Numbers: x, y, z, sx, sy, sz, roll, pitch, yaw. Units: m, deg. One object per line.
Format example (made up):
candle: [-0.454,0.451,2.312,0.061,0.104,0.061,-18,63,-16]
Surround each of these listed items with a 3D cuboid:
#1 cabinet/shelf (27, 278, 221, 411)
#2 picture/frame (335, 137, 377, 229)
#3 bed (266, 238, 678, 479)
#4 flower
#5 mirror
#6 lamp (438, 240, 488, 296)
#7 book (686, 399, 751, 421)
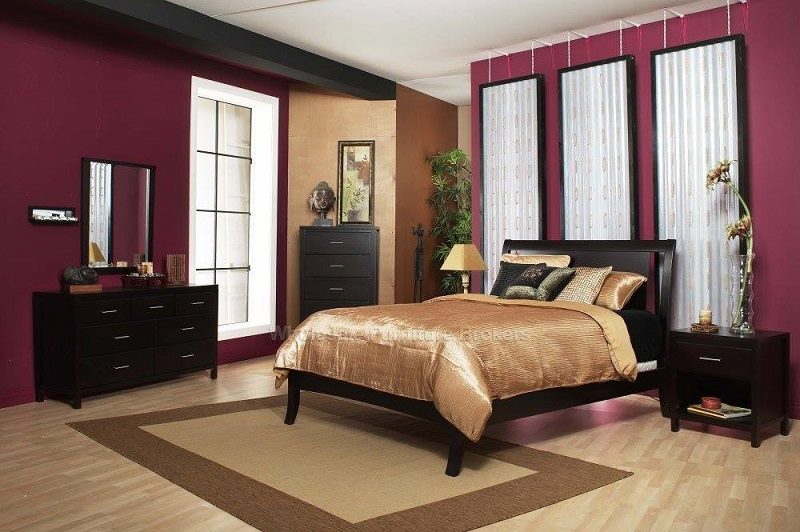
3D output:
cabinet/shelf: [-2.677,0.745,5.634,1.601,1.063,0.590,-4,8,-39]
picture/frame: [-0.586,-1.125,7.592,0.467,1.090,0.134,2,7,10]
bed: [0.774,0.516,5.224,3.054,1.509,2.464,-2,2,-37]
flower: [2.987,-0.148,5.128,0.546,1.516,0.475,5,8,32]
mirror: [-2.930,-0.531,5.878,0.107,1.133,0.794,6,9,39]
lamp: [0.881,0.007,6.576,0.624,0.793,0.596,0,1,23]
book: [2.687,1.184,4.722,0.486,0.132,0.285,0,6,-3]
